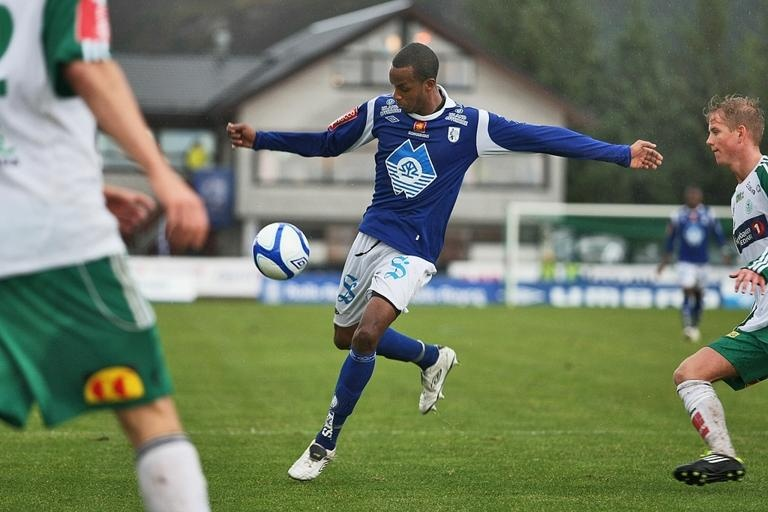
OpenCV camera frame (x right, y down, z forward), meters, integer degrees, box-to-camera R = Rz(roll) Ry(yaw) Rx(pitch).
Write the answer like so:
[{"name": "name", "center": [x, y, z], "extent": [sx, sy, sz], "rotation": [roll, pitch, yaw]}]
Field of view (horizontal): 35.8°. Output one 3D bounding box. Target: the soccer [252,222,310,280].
[{"name": "soccer", "center": [-0.832, -0.048, 9.545], "extent": [0.462, 0.438, 0.441], "rotation": [1, 9, -6]}]

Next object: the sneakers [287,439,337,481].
[{"name": "sneakers", "center": [-0.547, 1.581, 9.129], "extent": [0.178, 0.163, 0.399], "rotation": [45, 58, 8]}]

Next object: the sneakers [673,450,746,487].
[{"name": "sneakers", "center": [2.359, 1.552, 8.730], "extent": [0.557, 0.217, 0.265], "rotation": [-1, 43, -1]}]
